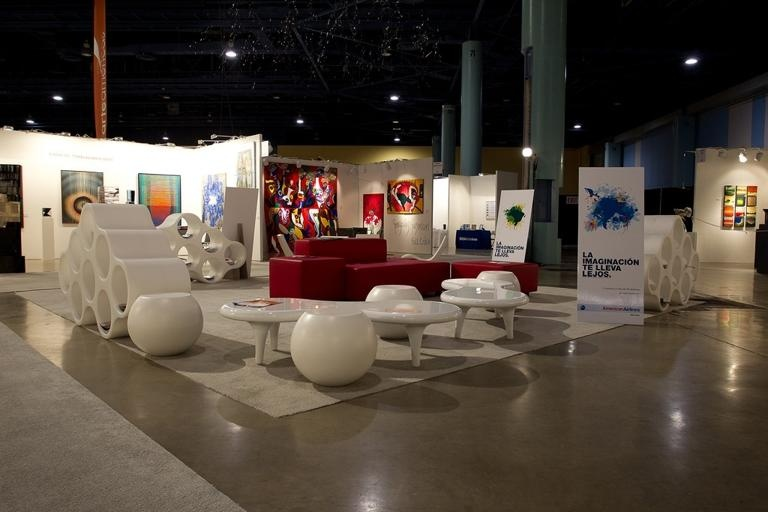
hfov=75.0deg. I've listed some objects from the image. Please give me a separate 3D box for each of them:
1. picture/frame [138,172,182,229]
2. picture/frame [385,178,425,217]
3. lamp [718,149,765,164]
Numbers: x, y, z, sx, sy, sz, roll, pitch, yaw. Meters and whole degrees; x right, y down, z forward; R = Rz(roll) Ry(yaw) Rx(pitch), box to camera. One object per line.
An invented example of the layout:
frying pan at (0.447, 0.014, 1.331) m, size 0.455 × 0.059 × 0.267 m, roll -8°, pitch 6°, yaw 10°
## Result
picture/frame at (-6.139, -1.573, 13.783) m, size 0.300 × 1.351 × 1.342 m, roll 6°, pitch 12°, yaw 25°
picture/frame at (0.710, -1.848, 15.797) m, size 1.206 × 0.987 × 0.050 m, roll 4°, pitch 6°, yaw 41°
lamp at (9.693, -2.686, 13.545) m, size 1.324 × 0.363 × 0.211 m, roll 0°, pitch 11°, yaw -3°
